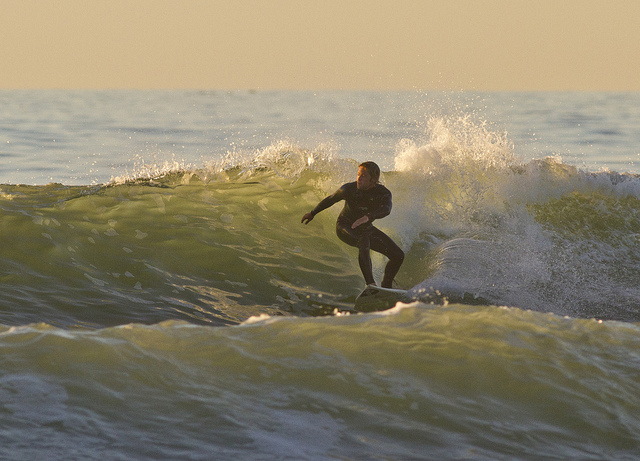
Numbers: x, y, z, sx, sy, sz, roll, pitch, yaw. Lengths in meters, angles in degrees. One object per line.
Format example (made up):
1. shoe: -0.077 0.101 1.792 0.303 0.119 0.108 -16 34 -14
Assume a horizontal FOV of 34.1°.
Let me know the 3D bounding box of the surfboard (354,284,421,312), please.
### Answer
1. surfboard: 0.926 0.955 14.529 0.959 0.374 0.367 6 0 -25

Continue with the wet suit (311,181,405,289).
1. wet suit: 0.615 0.039 14.805 1.216 1.518 0.693 7 0 6
